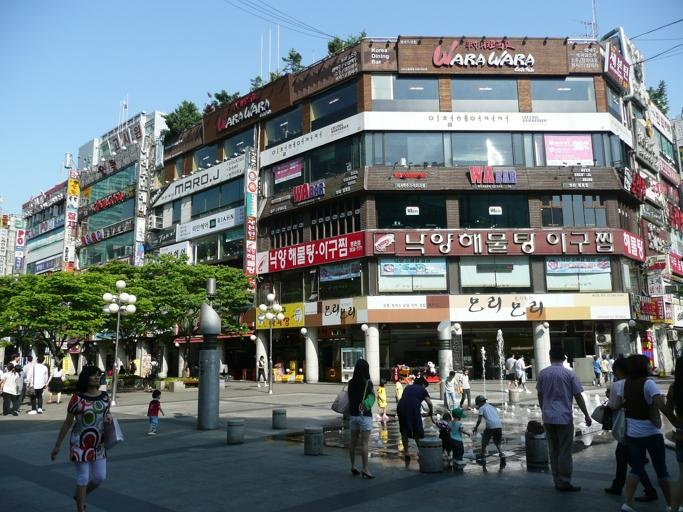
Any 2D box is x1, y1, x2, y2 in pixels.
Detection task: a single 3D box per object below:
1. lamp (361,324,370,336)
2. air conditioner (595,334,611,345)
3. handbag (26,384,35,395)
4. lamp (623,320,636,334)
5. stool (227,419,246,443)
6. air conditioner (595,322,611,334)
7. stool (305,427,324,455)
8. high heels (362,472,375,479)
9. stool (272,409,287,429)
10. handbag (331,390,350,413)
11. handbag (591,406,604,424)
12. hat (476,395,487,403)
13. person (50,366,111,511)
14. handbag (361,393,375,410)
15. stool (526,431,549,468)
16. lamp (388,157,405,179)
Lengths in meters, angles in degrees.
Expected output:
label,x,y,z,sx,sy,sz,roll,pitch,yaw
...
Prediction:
label,x,y,z,sx,sy,sz,roll,pitch,yaw
lamp,1.650,4.798,40.231,0.479,0.764,1.487,-3,-11,3
air conditioner,18.676,5.918,42.627,0.794,0.807,1.649,-10,-13,34
handbag,-13.013,5.572,25.063,0.236,0.432,1.171,5,-13,-32
lamp,19.970,4.837,41.557,0.996,1.164,1.274,-1,-11,19
stool,-3.150,5.211,17.912,0.601,0.673,0.591,6,-10,-32
air conditioner,18.750,5.097,42.807,1.355,0.811,0.479,1,-12,-17
stool,-0.822,5.009,16.353,0.586,0.665,0.591,1,-11,-7
high heels,0.606,5.003,13.782,0.340,0.161,0.116,-4,-11,1
stool,-2.102,5.526,20.476,0.571,0.632,0.560,9,-16,-43
handbag,-0.044,3.471,14.411,0.357,0.515,0.819,1,-11,-16
handbag,5.345,3.248,12.437,0.273,0.324,0.415,-7,-12,21
hat,3.625,3.640,15.411,0.280,0.137,0.214,-15,-10,-13
person,-4.813,3.400,11.261,0.897,2.660,0.660,3,-12,-22
handbag,0.645,3.378,13.886,0.154,0.387,0.338,-12,-15,39
stool,4.835,4.756,14.775,0.537,0.721,0.540,6,-14,-24
lamp,4.117,-6.137,42.001,1.089,1.730,0.706,-4,-12,8
